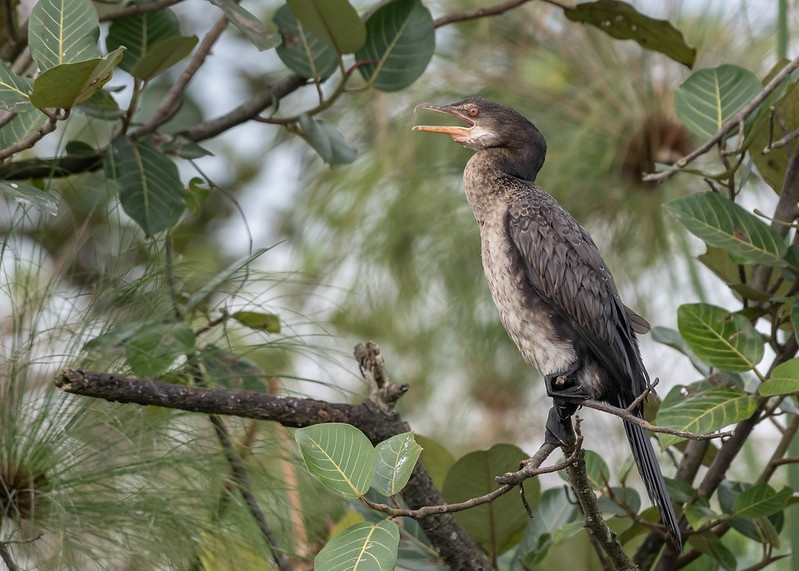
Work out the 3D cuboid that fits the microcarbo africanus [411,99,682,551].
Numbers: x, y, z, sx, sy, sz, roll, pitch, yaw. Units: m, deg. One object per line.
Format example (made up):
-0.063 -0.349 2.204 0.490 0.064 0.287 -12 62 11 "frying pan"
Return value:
0.381 0.012 2.831 0.620 1.381 0.396 -5 -24 13 "microcarbo africanus"
